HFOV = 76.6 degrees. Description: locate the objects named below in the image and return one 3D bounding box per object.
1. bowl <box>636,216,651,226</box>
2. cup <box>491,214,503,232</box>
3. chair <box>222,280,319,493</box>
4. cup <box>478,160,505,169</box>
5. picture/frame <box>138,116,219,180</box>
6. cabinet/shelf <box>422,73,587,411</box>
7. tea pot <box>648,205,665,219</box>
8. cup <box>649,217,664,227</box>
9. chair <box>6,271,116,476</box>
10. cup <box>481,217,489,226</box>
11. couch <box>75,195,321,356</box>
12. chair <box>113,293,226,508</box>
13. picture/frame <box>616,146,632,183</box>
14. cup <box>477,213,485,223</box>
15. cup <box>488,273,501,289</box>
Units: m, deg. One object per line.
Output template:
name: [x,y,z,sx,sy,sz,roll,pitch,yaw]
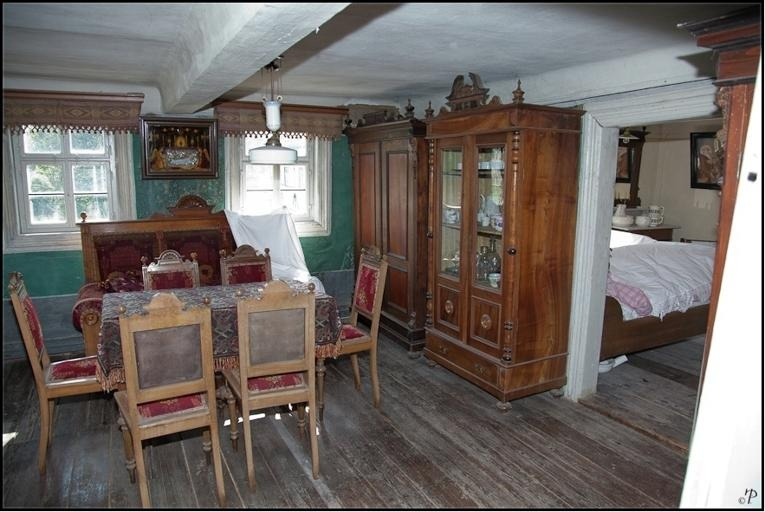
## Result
bowl: [3.941,-0.519,7.366,0.188,0.168,0.181,-1,-2,0]
cup: [1.022,-0.296,4.316,0.142,0.114,0.101,1,10,2]
chair: [-0.731,0.900,3.480,0.597,1.488,0.401,-6,13,-9]
cup: [0.972,-0.802,4.264,0.151,0.047,0.098,-3,8,-7]
picture/frame: [-2.368,-1.268,5.536,0.795,0.636,0.085,-3,6,-25]
cabinet/shelf: [0.993,-0.156,4.444,1.288,3.004,0.915,5,16,35]
tea pot: [4.199,-0.656,7.462,0.191,0.244,0.274,2,13,25]
cup: [4.165,-0.568,7.403,0.178,0.197,0.292,3,13,28]
chair: [-2.466,0.835,3.679,0.507,1.464,0.970,-12,15,-32]
cup: [0.940,-0.322,4.437,0.086,0.086,0.082,1,2,0]
couch: [-1.837,0.159,4.522,1.863,1.357,0.541,-3,6,-28]
chair: [-1.385,0.970,3.231,0.610,1.501,0.348,-8,14,-18]
picture/frame: [3.729,-1.423,7.461,0.201,0.558,0.100,1,14,23]
cup: [0.906,-0.357,4.459,0.083,0.059,0.078,2,1,0]
cup: [1.018,0.222,4.357,0.119,0.083,0.114,0,18,0]
